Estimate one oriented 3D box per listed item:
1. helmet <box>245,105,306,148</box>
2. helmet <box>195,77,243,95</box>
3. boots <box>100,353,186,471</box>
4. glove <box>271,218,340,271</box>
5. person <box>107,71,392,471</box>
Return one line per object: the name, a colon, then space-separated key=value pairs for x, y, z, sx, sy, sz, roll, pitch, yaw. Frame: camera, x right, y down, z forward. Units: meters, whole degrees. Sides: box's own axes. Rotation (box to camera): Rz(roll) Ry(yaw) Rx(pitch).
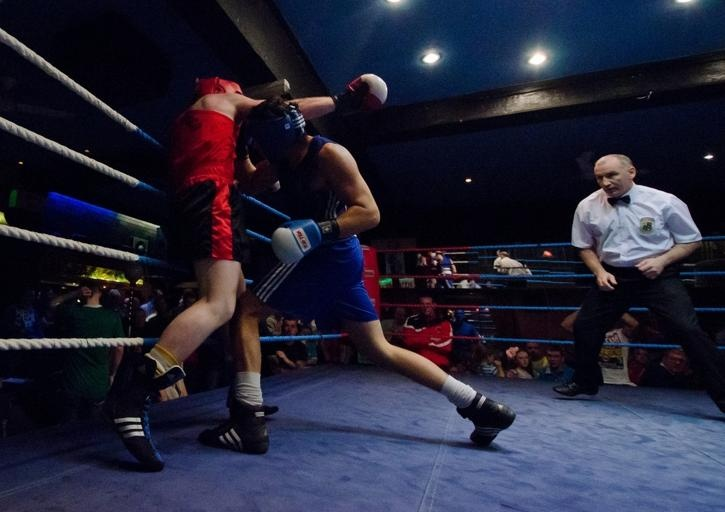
helmet: x=-0.379 y=-0.600 z=2.062 sx=0.256 sy=0.136 sz=0.193 roll=7 pitch=16 yaw=30
helmet: x=-0.732 y=-0.872 z=2.293 sx=0.217 sy=0.087 sz=0.159 roll=-6 pitch=15 yaw=-23
boots: x=-0.865 y=0.596 z=1.784 sx=0.274 sy=0.430 sz=0.213 roll=3 pitch=-1 yaw=-1
glove: x=-0.268 y=-0.061 z=1.974 sx=0.315 sy=0.116 sz=0.147 roll=-19 pitch=-26 yaw=-39
person: x=-0.659 y=-0.001 z=2.600 sx=1.190 sy=1.946 sz=1.607 roll=-2 pitch=-5 yaw=40
